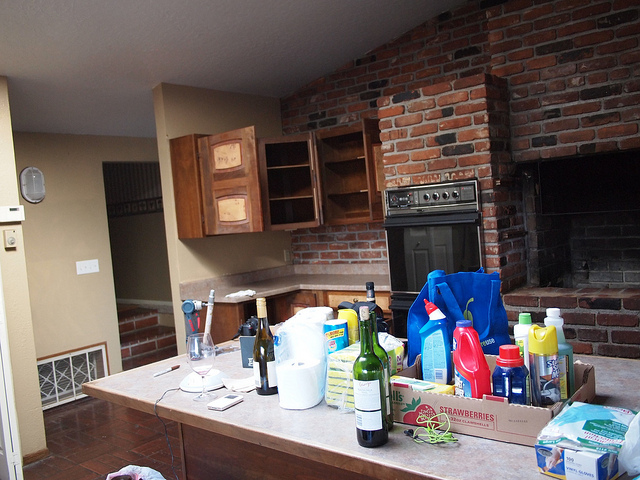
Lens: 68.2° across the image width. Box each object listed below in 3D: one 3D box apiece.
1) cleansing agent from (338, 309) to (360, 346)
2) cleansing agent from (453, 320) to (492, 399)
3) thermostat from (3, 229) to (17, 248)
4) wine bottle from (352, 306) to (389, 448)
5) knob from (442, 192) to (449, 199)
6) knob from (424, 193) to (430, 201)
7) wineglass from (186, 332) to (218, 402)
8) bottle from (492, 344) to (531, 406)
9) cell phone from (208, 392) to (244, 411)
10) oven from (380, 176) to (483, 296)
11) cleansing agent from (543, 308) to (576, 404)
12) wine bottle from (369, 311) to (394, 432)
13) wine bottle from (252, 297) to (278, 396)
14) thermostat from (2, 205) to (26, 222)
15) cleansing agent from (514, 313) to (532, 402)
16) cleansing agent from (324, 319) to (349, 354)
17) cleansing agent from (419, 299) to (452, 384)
[{"bbox_3d":[0.112,0.343,1.924,0.086,0.120,0.085,-7,3,-2],"label":"cleansing agent"},{"bbox_3d":[0.465,0.390,1.469,0.074,0.253,0.148,-8,10,-11],"label":"cleansing agent"},{"bbox_3d":[-2.271,-0.011,3.441,0.057,0.154,0.136,-3,-3,24],"label":"thermostat"},{"bbox_3d":[0.133,0.401,1.430,0.111,0.396,0.126,-5,0,-7],"label":"wine bottle"},{"bbox_3d":[0.893,-0.319,3.382,0.040,0.026,0.041,25,50,39],"label":"knob"},{"bbox_3d":[0.776,-0.315,3.449,0.034,0.044,0.042,-3,-1,-39],"label":"knob"},{"bbox_3d":[-0.456,0.498,1.875,0.126,0.247,0.126,2,8,-10],"label":"wineglass"},{"bbox_3d":[0.555,0.401,1.381,0.110,0.190,0.072,-6,9,12],"label":"bottle"},{"bbox_3d":[-0.355,0.601,1.774,0.097,0.017,0.143,-3,9,32],"label":"cell phone"},{"bbox_3d":[0.757,-0.016,3.740,0.745,0.910,0.664,-5,10,-6],"label":"oven"},{"bbox_3d":[0.731,0.351,1.467,0.065,0.282,0.089,12,11,38],"label":"cleansing agent"},{"bbox_3d":[0.180,0.409,1.486,0.101,0.339,0.110,-5,2,0],"label":"wine bottle"},{"bbox_3d":[-0.226,0.410,1.835,0.112,0.364,0.114,-3,0,0],"label":"wine bottle"},{"bbox_3d":[-2.257,-0.194,3.464,0.044,0.088,0.162,-4,9,29],"label":"thermostat"},{"bbox_3d":[0.644,0.373,1.509,0.079,0.256,0.073,3,-9,13],"label":"cleansing agent"},{"bbox_3d":[0.062,0.387,1.879,0.088,0.141,0.090,-2,10,22],"label":"cleansing agent"},{"bbox_3d":[0.402,0.355,1.657,0.126,0.290,0.086,-5,-7,33],"label":"cleansing agent"}]
